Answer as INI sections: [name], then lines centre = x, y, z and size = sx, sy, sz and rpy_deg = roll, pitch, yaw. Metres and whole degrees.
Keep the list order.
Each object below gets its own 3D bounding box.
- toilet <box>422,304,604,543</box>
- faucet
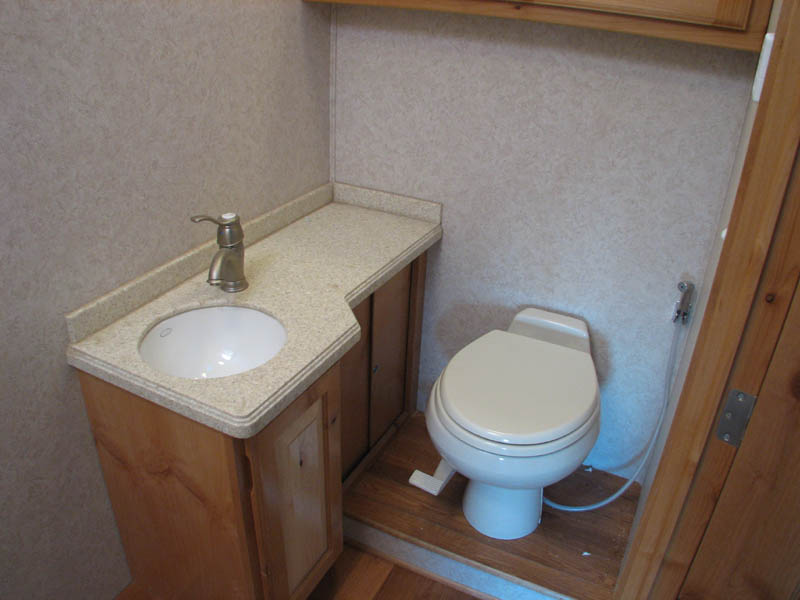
[toilet]
centre = 0.331, 0.383, 2.151
size = 0.578, 0.502, 0.686
rpy_deg = 14, 35, 22
[faucet]
centre = -0.453, -0.123, 1.720
size = 0.086, 0.229, 0.144
rpy_deg = 15, 31, 17
